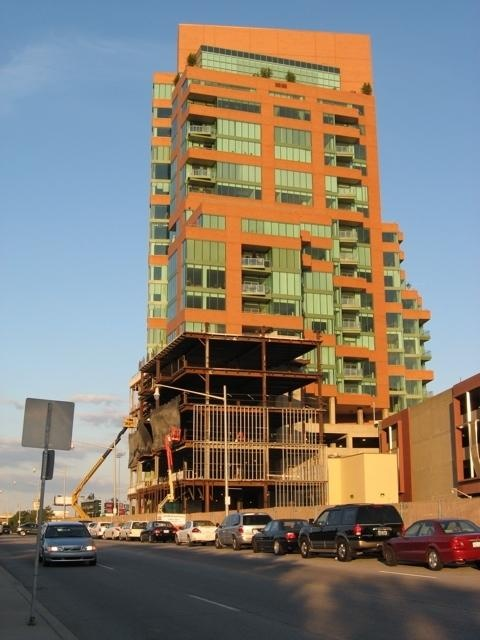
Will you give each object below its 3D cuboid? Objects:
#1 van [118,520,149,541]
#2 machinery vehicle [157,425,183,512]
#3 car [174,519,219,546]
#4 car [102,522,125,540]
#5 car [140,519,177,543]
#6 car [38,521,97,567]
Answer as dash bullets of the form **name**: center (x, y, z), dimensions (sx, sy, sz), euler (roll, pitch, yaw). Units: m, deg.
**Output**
- **van**: center (-6.981, 13.747, 53.319), dimensions (1.246, 1.034, 2.496), euler (5, -10, -21)
- **machinery vehicle**: center (-6.010, 13.415, 73.309), dimensions (1.263, 7.140, 2.115), euler (1, -10, -36)
- **car**: center (-2.294, 10.837, 41.637), dimensions (1.293, 0.965, 3.001), euler (3, -12, -15)
- **car**: center (-8.908, 14.954, 57.798), dimensions (1.217, 0.994, 2.776), euler (6, -13, -23)
- **car**: center (-4.932, 12.502, 48.365), dimensions (2.145, 1.154, 1.292), euler (-14, -22, 38)
- **car**: center (-4.946, 6.387, 23.527), dimensions (1.434, 1.188, 1.529), euler (6, -18, -19)
